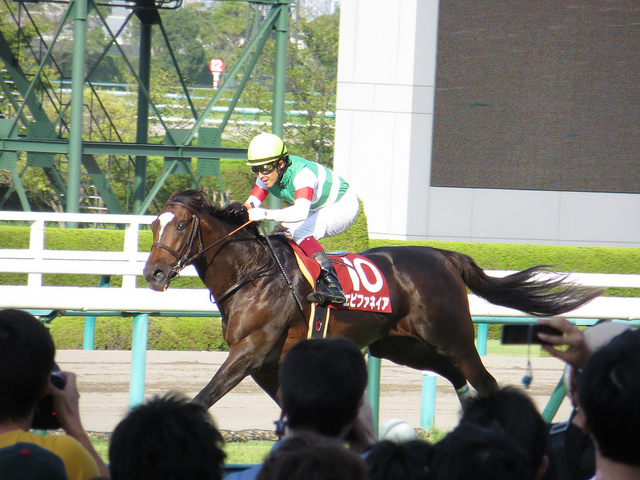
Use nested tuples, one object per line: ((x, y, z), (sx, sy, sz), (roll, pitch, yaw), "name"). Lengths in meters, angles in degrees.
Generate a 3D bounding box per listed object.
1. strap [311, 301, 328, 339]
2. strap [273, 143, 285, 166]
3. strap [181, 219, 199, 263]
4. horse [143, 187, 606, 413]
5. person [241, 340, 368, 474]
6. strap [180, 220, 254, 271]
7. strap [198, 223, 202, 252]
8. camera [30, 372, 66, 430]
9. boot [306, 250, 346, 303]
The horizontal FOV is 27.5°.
((-0.018, 0.943, 15.091), (0.148, 0.559, 0.046), (3, 32, -7), "strap")
((-0.473, -1.010, 15.273), (0.055, 0.197, 0.154), (12, 9, -3), "strap")
((-1.485, -0.008, 15.005), (0.209, 0.490, 0.060), (-3, 6, -44), "strap")
((0.363, 0.632, 15.251), (4.783, 2.448, 0.722), (0, 4, -10), "horse")
((0.015, 1.480, 13.320), (0.922, 1.559, 0.664), (7, -1, 9), "person")
((-1.207, 0.060, 15.056), (0.964, 0.079, 0.123), (-30, 54, -18), "strap")
((-1.378, -0.044, 15.033), (0.043, 0.257, 0.033), (-4, -11, -15), "strap")
((-2.799, 1.649, 13.525), (0.348, 0.591, 0.216), (-1, 5, -26), "camera")
((0.095, 0.396, 15.130), (0.441, 0.531, 0.461), (-4, 11, -26), "boot")
